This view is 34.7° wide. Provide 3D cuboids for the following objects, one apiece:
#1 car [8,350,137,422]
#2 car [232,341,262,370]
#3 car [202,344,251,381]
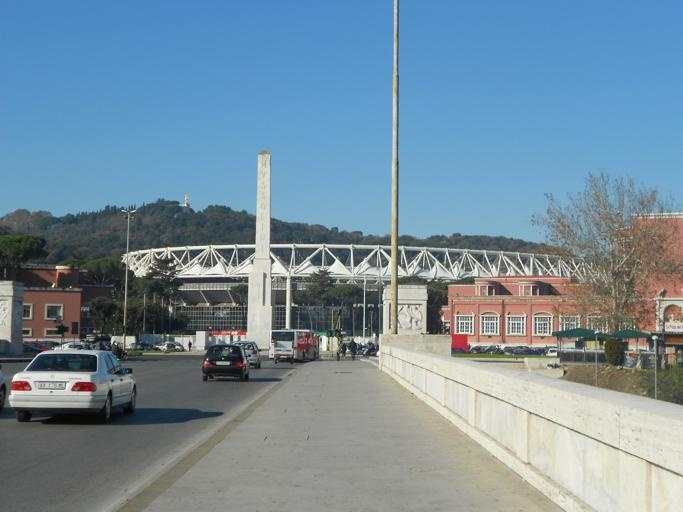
[{"bbox_3d":[-6.852,3.259,27.863,3.065,1.852,1.938,2,-7,-24],"label":"car"},{"bbox_3d":[-4.699,5.024,55.488,1.108,1.063,2.585,0,0,0],"label":"car"},{"bbox_3d":[-4.543,4.097,42.965,1.731,1.459,1.464,-3,-7,12],"label":"car"}]
